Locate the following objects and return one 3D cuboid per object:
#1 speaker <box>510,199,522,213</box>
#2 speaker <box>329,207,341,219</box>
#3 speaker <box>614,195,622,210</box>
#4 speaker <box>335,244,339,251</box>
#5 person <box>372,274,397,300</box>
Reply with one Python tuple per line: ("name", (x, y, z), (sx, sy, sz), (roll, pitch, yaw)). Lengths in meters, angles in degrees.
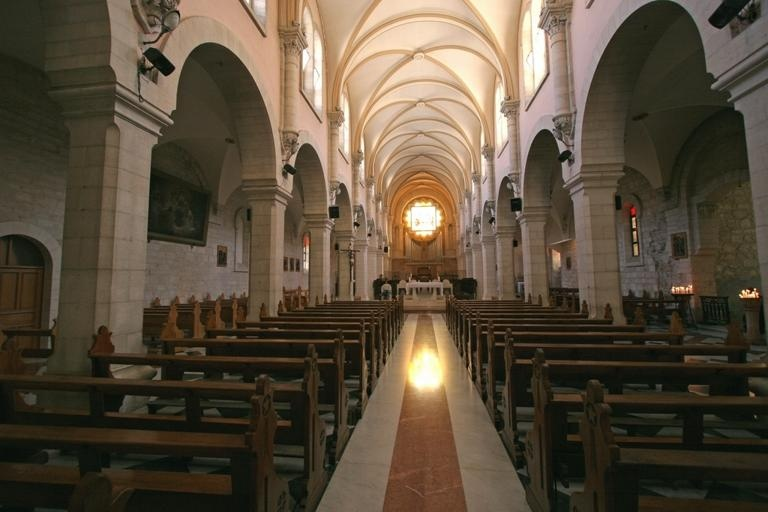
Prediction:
("speaker", (3.995, -1.573, 17.657), (0.282, 0.439, 0.356), (-2, -8, 7))
("speaker", (-1.664, -1.380, 18.446), (0.370, 0.356, 0.093), (-1, 4, -33))
("speaker", (5.463, -1.267, 13.631), (0.107, 0.341, 0.626), (-5, -9, 27))
("speaker", (-1.881, -0.367, 23.260), (0.144, 0.300, 0.291), (-2, 3, -12))
("person", (-0.106, 1.643, 30.266), (0.934, 1.288, 0.498), (2, 6, 3))
